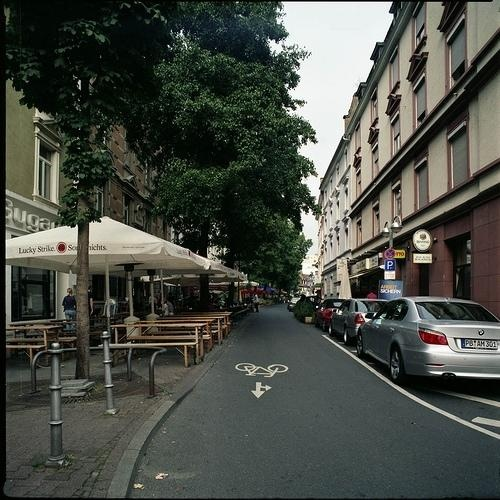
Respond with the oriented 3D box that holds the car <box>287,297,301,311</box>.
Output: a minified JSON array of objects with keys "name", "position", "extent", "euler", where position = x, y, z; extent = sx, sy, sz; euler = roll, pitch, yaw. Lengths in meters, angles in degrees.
[{"name":"car","position":[3.886,4.978,49.097],"extent":[0.902,0.913,2.315],"euler":[0,2,7]}]

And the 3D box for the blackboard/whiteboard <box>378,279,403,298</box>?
[{"name":"blackboard/whiteboard","position":[4.719,1.330,18.082],"extent":[0.686,1.113,0.828],"euler":[2,-1,6]}]
